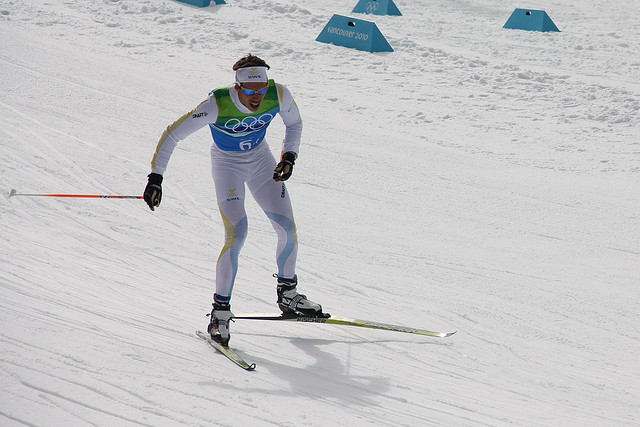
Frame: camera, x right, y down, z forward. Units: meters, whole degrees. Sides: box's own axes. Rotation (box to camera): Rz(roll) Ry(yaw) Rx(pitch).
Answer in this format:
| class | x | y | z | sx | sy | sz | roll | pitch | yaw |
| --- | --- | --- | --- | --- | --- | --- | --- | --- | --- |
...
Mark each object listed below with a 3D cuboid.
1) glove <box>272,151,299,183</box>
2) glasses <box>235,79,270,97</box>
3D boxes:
| class | x | y | z | sx | sy | sz | roll | pitch | yaw |
| --- | --- | --- | --- | --- | --- | --- | --- | --- | --- |
| glove | -0.477 | -0.554 | 11.647 | 0.281 | 0.115 | 0.375 | 30 | 62 | -6 |
| glasses | -0.834 | -1.459 | 11.195 | 0.375 | 0.178 | 0.149 | 0 | 43 | -7 |
